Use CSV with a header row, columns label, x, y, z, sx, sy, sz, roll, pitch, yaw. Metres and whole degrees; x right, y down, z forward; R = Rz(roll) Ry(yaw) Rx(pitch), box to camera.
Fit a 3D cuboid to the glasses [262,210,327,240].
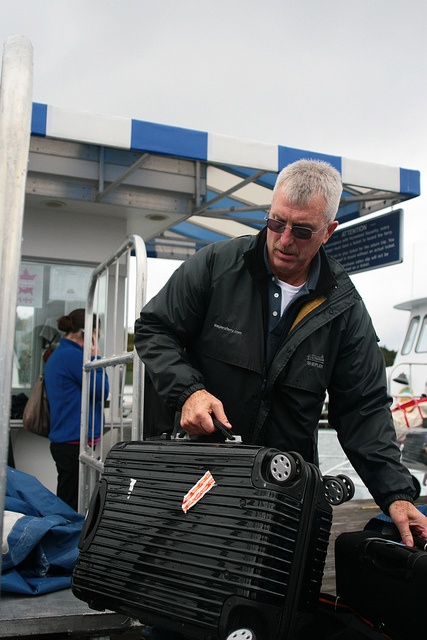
label,x,y,z,sx,sy,sz,roll,pitch,yaw
glasses,0.293,-0.328,2.174,0.225,0.101,0.148,1,-2,6
